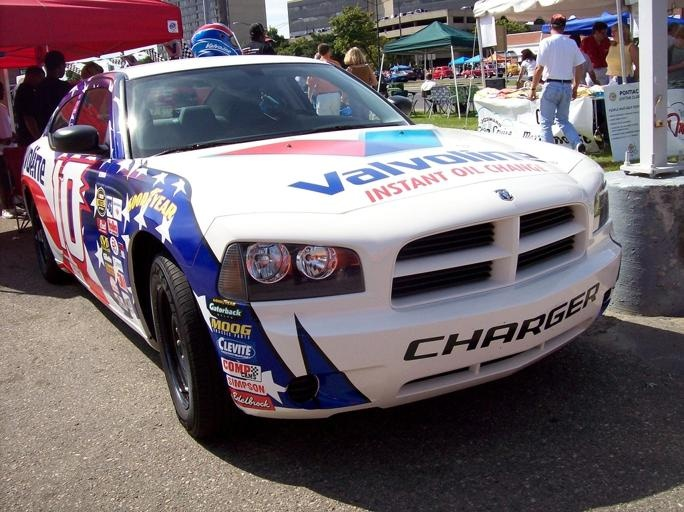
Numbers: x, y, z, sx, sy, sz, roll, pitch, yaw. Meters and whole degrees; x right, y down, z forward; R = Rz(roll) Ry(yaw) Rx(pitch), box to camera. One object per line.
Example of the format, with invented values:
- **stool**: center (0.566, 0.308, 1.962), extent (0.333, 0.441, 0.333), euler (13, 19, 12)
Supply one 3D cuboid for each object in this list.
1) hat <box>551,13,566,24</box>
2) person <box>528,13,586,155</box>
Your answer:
- **hat**: center (3.403, -3.702, 8.153), extent (0.172, 0.202, 0.362), euler (3, 22, 24)
- **person**: center (3.424, -2.669, 8.302), extent (0.895, 2.264, 0.676), euler (2, 12, 18)
